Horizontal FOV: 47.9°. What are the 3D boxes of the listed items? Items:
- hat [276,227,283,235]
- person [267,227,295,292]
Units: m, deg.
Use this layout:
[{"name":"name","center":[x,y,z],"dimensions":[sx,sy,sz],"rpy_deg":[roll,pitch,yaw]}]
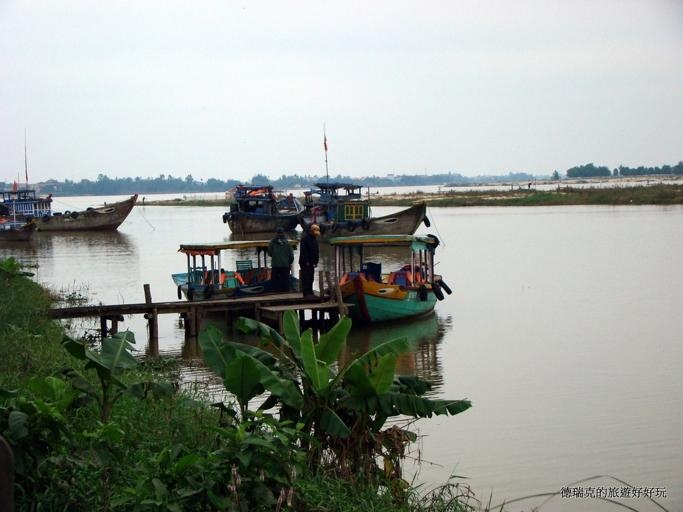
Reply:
[{"name":"hat","center":[-1.348,-0.533,16.670],"dimensions":[0.120,0.168,0.166],"rpy_deg":[4,12,-2]},{"name":"person","center":[-1.380,0.131,17.344],"dimensions":[0.529,1.573,0.518],"rpy_deg":[0,22,-6]}]
